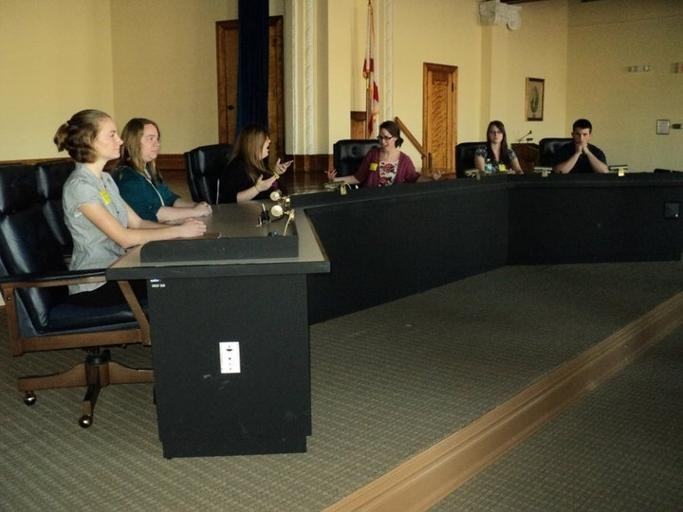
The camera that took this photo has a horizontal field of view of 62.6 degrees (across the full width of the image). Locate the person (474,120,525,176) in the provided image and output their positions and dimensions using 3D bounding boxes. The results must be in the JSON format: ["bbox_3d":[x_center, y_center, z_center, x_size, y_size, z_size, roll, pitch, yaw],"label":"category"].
[{"bbox_3d":[1.578,-1.094,5.651,0.451,0.504,0.994,3,14,17],"label":"person"}]

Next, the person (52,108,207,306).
[{"bbox_3d":[-1.049,-0.130,2.817,0.623,1.110,0.479,1,11,-8],"label":"person"}]

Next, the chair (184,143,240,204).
[{"bbox_3d":[-0.994,-0.609,4.151,0.341,0.520,0.409,-7,15,-39],"label":"chair"}]

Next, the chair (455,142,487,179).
[{"bbox_3d":[1.282,-0.962,5.743,0.320,0.497,0.391,0,6,9],"label":"chair"}]

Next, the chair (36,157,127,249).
[{"bbox_3d":[-1.323,-0.292,3.021,0.316,0.647,0.369,2,11,4],"label":"chair"}]

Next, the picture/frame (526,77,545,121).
[{"bbox_3d":[3.997,-3.275,11.613,0.065,1.033,0.882,3,4,42],"label":"picture/frame"}]

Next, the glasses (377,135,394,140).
[{"bbox_3d":[0.401,-1.047,4.953,0.095,0.031,0.097,5,8,42],"label":"glasses"}]
